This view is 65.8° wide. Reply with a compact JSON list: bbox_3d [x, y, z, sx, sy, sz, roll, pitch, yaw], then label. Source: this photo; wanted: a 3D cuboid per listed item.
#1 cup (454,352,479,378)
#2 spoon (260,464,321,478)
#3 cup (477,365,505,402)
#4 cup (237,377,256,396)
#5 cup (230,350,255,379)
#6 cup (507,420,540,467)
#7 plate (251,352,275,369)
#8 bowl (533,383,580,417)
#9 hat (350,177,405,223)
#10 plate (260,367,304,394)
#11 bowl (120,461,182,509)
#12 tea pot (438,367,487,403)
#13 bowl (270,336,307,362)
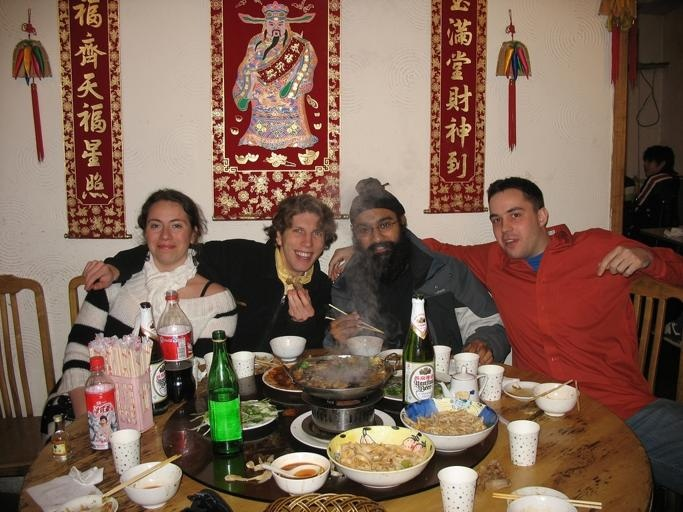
[{"bbox_3d":[0.590,0.509,2.465,0.103,0.085,0.112,0,-2,0],"label":"cup"},{"bbox_3d":[-0.165,0.729,1.795,0.099,0.017,0.063,5,-7,-20],"label":"spoon"},{"bbox_3d":[0.667,0.563,2.364,0.113,0.126,0.139,0,8,10],"label":"cup"},{"bbox_3d":[-0.442,0.605,2.451,0.079,0.085,0.080,1,8,0],"label":"cup"},{"bbox_3d":[-0.483,0.520,2.546,0.122,0.093,0.112,1,3,0],"label":"cup"},{"bbox_3d":[0.659,0.676,1.979,0.139,0.144,0.138,-1,2,0],"label":"cup"},{"bbox_3d":[-0.396,0.533,2.721,0.091,0.027,0.091,-2,19,-26],"label":"plate"},{"bbox_3d":[0.918,0.600,2.233,0.147,0.084,0.149,-3,11,1],"label":"bowl"},{"bbox_3d":[0.233,-0.410,3.665,0.317,0.206,0.312,-11,-5,-39],"label":"hat"},{"bbox_3d":[-0.291,0.585,2.481,0.148,0.025,0.150,6,23,-19],"label":"plate"},{"bbox_3d":[-0.649,0.772,1.791,0.140,0.079,0.142,-1,3,0],"label":"bowl"},{"bbox_3d":[0.529,0.544,2.249,0.202,0.132,0.129,2,2,-2],"label":"tea pot"},{"bbox_3d":[-0.283,0.475,2.791,0.137,0.084,0.140,2,-1,0],"label":"bowl"}]
